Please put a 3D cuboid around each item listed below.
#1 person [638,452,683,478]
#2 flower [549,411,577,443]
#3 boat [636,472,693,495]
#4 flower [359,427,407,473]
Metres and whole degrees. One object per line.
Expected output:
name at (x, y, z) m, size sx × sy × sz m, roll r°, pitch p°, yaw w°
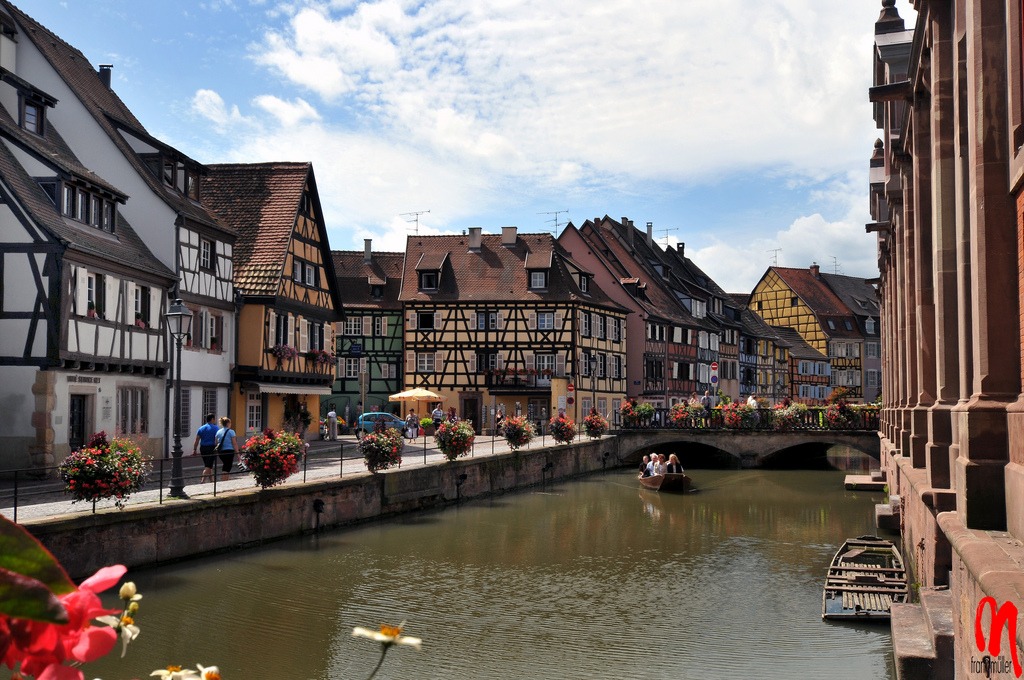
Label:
person at (5.852, 5.135, 45.512) m, size 1.001 × 0.536 × 3.303 m, roll 0°, pitch -3°, yaw -5°
flower at (2.142, 3.823, 47.377) m, size 0.926 × 1.175 × 1.339 m, roll -3°, pitch -5°, yaw -1°
boat at (6.155, 5.662, 43.563) m, size 1.951 × 0.822 × 1.410 m, roll -3°, pitch -5°, yaw -5°
flower at (-3.724, 3.210, 32.502) m, size 1.183 × 1.369 × 1.379 m, roll -2°, pitch 0°, yaw 13°
